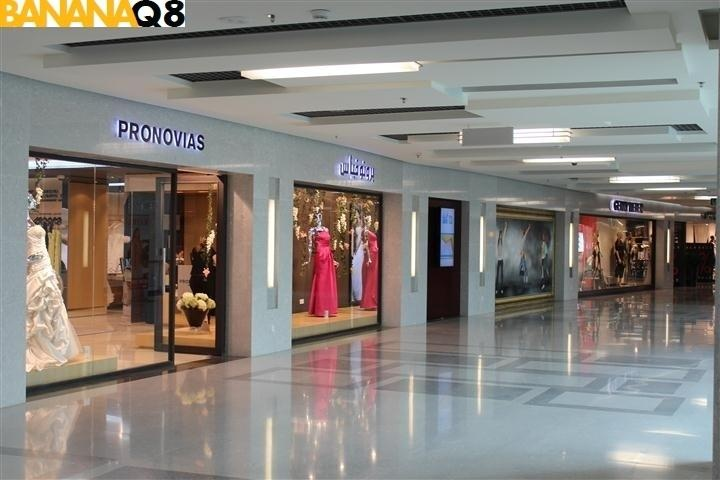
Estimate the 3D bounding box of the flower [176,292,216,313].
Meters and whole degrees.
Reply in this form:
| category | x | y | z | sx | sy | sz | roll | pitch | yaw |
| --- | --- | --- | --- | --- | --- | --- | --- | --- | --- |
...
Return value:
| category | x | y | z | sx | sy | sz | roll | pitch | yaw |
| --- | --- | --- | --- | --- | --- | --- | --- | --- | --- |
| flower | -3.319 | 1.201 | 11.185 | 0.512 | 0.274 | 0.498 | 1 | -1 | -38 |

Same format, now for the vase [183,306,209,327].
| category | x | y | z | sx | sy | sz | roll | pitch | yaw |
| --- | --- | --- | --- | --- | --- | --- | --- | --- | --- |
| vase | -3.309 | 1.546 | 11.149 | 0.410 | 0.285 | 0.366 | 2 | -10 | -1 |

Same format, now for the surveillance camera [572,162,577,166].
| category | x | y | z | sx | sy | sz | roll | pitch | yaw |
| --- | --- | --- | --- | --- | --- | --- | --- | --- | --- |
| surveillance camera | 5.722 | -2.017 | 14.794 | 0.124 | 0.060 | 0.166 | 0 | -4 | -7 |
